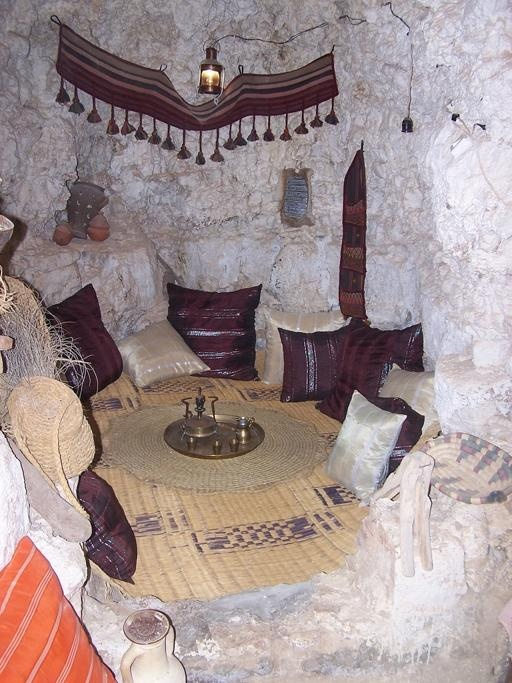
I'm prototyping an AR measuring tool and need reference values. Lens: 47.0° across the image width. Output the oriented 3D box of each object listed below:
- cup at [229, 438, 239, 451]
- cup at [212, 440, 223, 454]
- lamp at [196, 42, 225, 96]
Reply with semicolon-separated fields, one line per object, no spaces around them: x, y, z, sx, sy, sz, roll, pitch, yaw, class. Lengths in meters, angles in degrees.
-0.094;0.474;2.694;0.044;0.043;0.042;-2;2;0;cup
-0.168;0.476;2.660;0.048;0.047;0.047;-1;-6;0;cup
-0.225;-1.433;3.117;0.153;0.230;0.138;0;15;-19;lamp
